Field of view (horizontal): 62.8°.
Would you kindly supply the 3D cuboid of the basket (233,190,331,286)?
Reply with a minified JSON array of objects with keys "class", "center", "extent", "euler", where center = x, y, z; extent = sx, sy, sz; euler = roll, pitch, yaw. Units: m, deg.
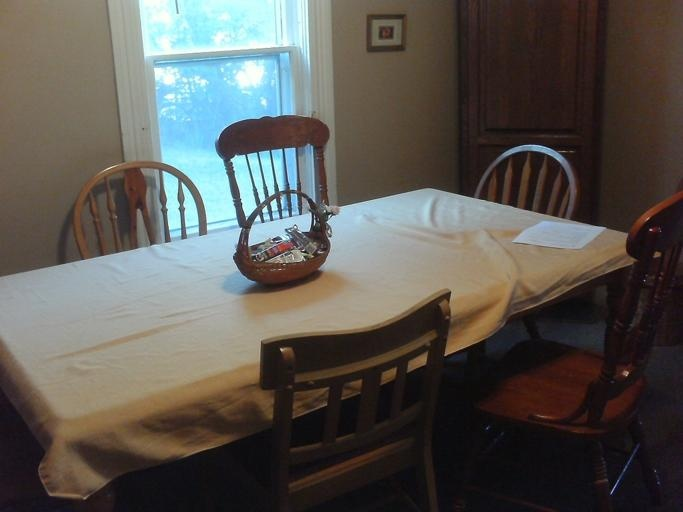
[{"class":"basket","center":[-0.177,-0.070,1.861],"extent":[0.370,0.284,0.255],"euler":[-19,24,-33]}]

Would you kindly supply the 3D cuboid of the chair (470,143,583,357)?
[{"class":"chair","center":[0.958,-0.095,2.678],"extent":[0.396,0.497,0.706],"euler":[-2,48,9]}]
